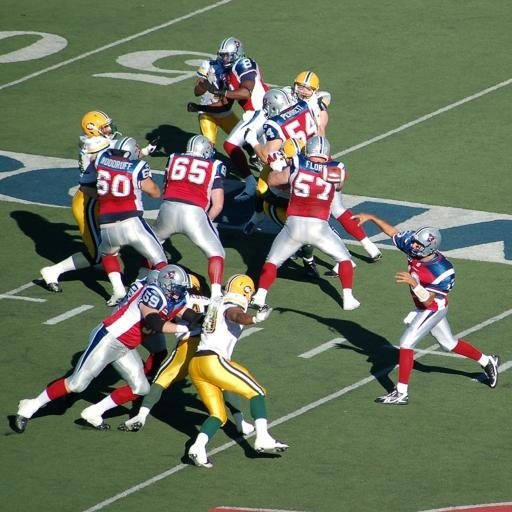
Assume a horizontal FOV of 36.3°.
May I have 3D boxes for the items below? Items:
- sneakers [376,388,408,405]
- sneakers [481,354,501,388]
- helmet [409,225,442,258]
[{"bbox_3d":[1.274,1.395,7.730,0.455,0.113,0.120,0,4,13],"label":"sneakers"},{"bbox_3d":[2.404,1.174,8.029,0.237,0.326,0.149,-9,5,-20],"label":"sneakers"},{"bbox_3d":[1.639,-0.134,7.545,0.445,0.249,0.262,4,11,8],"label":"helmet"}]
